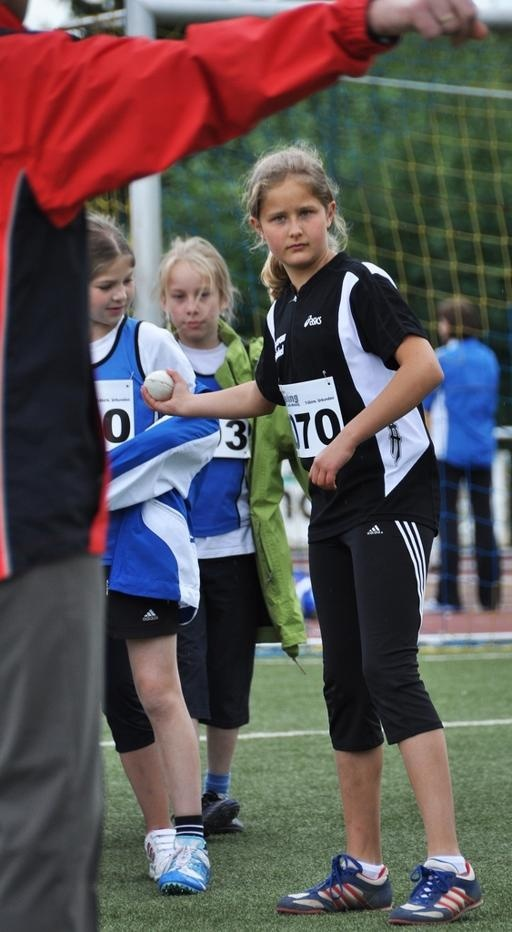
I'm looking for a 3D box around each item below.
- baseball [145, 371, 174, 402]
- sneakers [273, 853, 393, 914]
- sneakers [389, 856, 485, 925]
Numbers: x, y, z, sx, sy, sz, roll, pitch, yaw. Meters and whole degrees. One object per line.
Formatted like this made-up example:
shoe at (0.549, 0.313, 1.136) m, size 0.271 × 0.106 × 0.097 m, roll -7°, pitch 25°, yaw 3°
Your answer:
baseball at (-0.235, -0.192, 2.212) m, size 0.063 × 0.075 × 0.074 m, roll -5°, pitch 9°, yaw -15°
sneakers at (0.180, 0.926, 2.069) m, size 0.280 × 0.147 × 0.108 m, roll 4°, pitch -12°, yaw 2°
sneakers at (0.378, 0.879, 1.917) m, size 0.223 × 0.099 × 0.084 m, roll -3°, pitch -14°, yaw -27°
